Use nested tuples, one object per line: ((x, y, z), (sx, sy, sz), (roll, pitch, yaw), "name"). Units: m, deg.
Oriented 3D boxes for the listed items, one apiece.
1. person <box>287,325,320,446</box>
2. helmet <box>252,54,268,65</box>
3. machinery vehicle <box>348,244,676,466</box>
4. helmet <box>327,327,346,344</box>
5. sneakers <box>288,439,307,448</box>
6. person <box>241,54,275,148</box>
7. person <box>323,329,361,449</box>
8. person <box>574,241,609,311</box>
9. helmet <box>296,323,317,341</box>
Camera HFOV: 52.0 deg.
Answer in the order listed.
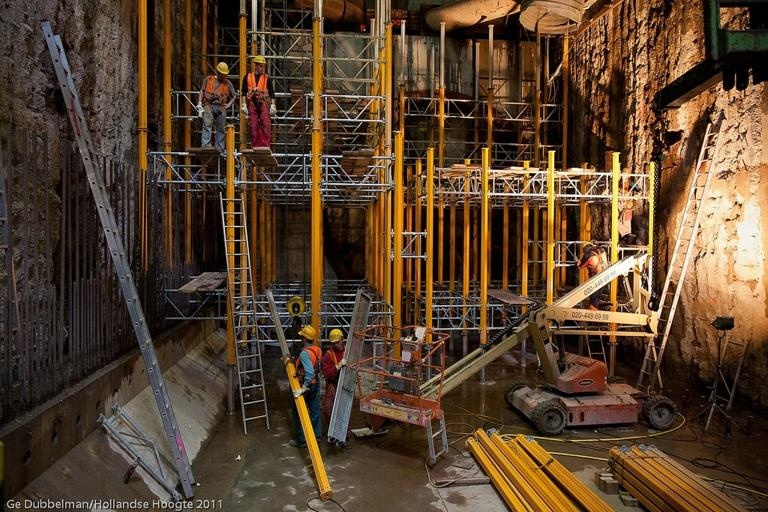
((-1.666, 2.873, 17.139), (0.621, 2.526, 1.226), (1, 8, -7), "person")
((-3.092, -4.878, 19.465), (0.277, 0.153, 0.353), (-3, 20, -36), "helmet")
((3.196, 2.177, 18.958), (6.992, 4.374, 2.640), (-2, -5, -3), "machinery vehicle")
((-1.082, 1.785, 17.593), (0.278, 0.183, 0.355), (-17, 21, -35), "helmet")
((-1.857, 4.082, 17.208), (0.391, 0.194, 0.152), (1, 0, 2), "sneakers")
((-3.094, -3.827, 19.443), (0.770, 2.194, 0.683), (2, 8, -2), "person")
((-1.090, 2.804, 17.421), (0.517, 2.324, 1.041), (1, 8, -5), "person")
((5.620, 0.533, 21.189), (0.698, 2.235, 0.621), (-14, 33, -9), "person")
((-1.713, 1.700, 17.468), (0.359, 0.207, 0.270), (30, 29, 24), "helmet")
